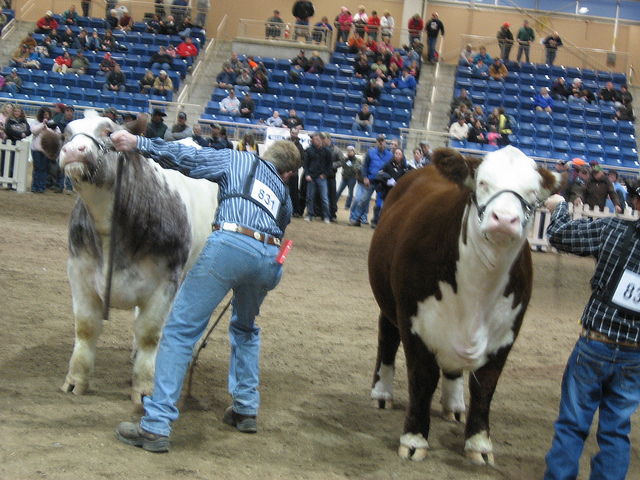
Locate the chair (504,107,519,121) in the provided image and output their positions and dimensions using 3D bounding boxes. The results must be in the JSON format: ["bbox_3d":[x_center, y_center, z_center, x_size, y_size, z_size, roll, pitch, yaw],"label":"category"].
[{"bbox_3d":[5.934,-3.933,28.470,0.422,0.389,0.798,7,7,5],"label":"chair"}]

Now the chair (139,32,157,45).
[{"bbox_3d":[-5.847,-6.835,31.126,0.417,0.531,0.443,1,3,-18],"label":"chair"}]

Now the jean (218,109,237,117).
[{"bbox_3d":[-2.623,-3.597,25.835,0.579,0.176,0.182,12,9,30],"label":"jean"}]

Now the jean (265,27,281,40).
[{"bbox_3d":[-1.648,-7.053,31.147,0.539,0.382,0.085,10,8,18],"label":"jean"}]

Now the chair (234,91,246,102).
[{"bbox_3d":[-2.384,-4.281,26.951,0.312,0.253,0.913,6,8,-5],"label":"chair"}]

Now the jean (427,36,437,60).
[{"bbox_3d":[3.782,-6.598,31.395,0.310,0.759,0.486,6,7,6],"label":"jean"}]

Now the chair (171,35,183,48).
[{"bbox_3d":[-4.922,-6.828,31.384,0.367,0.436,0.820,4,8,-19],"label":"chair"}]

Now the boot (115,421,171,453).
[{"bbox_3d":[-1.938,2.126,9.911,0.611,0.253,0.127,9,7,10],"label":"boot"}]

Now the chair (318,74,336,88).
[{"bbox_3d":[0.200,-5.028,28.848,0.559,0.400,0.558,7,7,-1],"label":"chair"}]

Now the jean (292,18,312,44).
[{"bbox_3d":[-0.613,-7.224,31.524,0.665,0.913,1.581,6,7,-4],"label":"jean"}]

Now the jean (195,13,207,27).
[{"bbox_3d":[-4.312,-7.937,32.915,0.365,0.455,0.598,5,7,-10],"label":"jean"}]

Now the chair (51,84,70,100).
[{"bbox_3d":[-7.660,-4.412,27.063,0.392,0.445,0.434,4,18,7],"label":"chair"}]

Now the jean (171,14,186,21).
[{"bbox_3d":[-4.973,-7.846,32.224,0.351,0.243,1.124,2,10,-33],"label":"jean"}]

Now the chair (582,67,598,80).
[{"bbox_3d":[9.268,-5.708,31.557,0.570,0.369,0.526,7,7,-1],"label":"chair"}]

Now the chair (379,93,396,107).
[{"bbox_3d":[2.008,-4.215,27.554,0.520,0.388,0.556,7,7,-1],"label":"chair"}]

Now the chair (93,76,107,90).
[{"bbox_3d":[-6.689,-4.770,27.748,0.366,0.508,0.461,0,2,-10],"label":"chair"}]

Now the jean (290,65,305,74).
[{"bbox_3d":[-0.735,-5.425,29.120,0.453,0.290,1.393,7,8,-4],"label":"jean"}]

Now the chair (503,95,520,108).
[{"bbox_3d":[6.065,-4.412,29.128,0.504,0.391,0.480,8,7,9],"label":"chair"}]

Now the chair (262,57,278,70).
[{"bbox_3d":[-1.654,-5.821,30.095,0.373,0.508,0.453,8,13,11],"label":"chair"}]

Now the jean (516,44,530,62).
[{"bbox_3d":[7.004,-6.489,31.669,0.439,0.589,0.287,6,7,2],"label":"jean"}]

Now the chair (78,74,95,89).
[{"bbox_3d":[-7.096,-4.833,27.736,0.405,0.572,0.414,-11,25,-24],"label":"chair"}]

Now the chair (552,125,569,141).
[{"bbox_3d":[7.238,-3.229,27.669,0.493,0.405,0.615,9,7,14],"label":"chair"}]

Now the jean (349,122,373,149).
[{"bbox_3d":[1.133,-3.052,25.158,0.585,0.901,0.724,1,-29,1],"label":"jean"}]

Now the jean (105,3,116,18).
[{"bbox_3d":[-7.674,-8.392,33.448,0.359,0.572,1.355,4,8,-15],"label":"jean"}]

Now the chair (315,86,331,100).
[{"bbox_3d":[0.080,-4.545,28.192,0.475,0.589,0.371,1,-16,3],"label":"chair"}]

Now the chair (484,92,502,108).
[{"bbox_3d":[5.480,-4.488,29.145,0.466,0.719,0.491,2,9,11],"label":"chair"}]

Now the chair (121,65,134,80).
[{"bbox_3d":[-6.042,-5.297,28.846,0.354,0.553,0.449,2,-4,-9],"label":"chair"}]

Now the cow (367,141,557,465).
[{"bbox_3d":[1.487,0.693,10.613,1.244,3.694,2.286,3,8,-23],"label":"cow"}]

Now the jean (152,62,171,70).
[{"bbox_3d":[-5.049,-5.533,29.079,0.275,0.140,0.311,7,3,4],"label":"jean"}]

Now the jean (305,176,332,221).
[{"bbox_3d":[-0.066,-0.947,20.597,0.654,1.037,0.800,7,7,8],"label":"jean"}]

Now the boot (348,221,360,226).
[{"bbox_3d":[0.777,-0.377,20.938,0.250,0.133,0.103,4,2,-21],"label":"boot"}]

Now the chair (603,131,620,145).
[{"bbox_3d":[8.843,-3.113,27.907,0.494,0.391,0.654,9,8,16],"label":"chair"}]

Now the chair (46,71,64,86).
[{"bbox_3d":[-8.017,-4.917,27.671,0.333,0.377,0.392,3,26,-5],"label":"chair"}]

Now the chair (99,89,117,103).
[{"bbox_3d":[-6.189,-4.185,26.700,0.368,0.469,0.315,4,-9,7],"label":"chair"}]

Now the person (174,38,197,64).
[{"bbox_3d":[-4.459,-6.250,30.339,0.602,1.214,0.633,16,-39,-18],"label":"person"}]

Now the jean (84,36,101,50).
[{"bbox_3d":[-7.450,-6.423,30.050,0.362,0.451,0.610,16,37,-16],"label":"jean"}]

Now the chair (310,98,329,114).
[{"bbox_3d":[-0.036,-4.033,27.436,0.389,0.321,0.455,3,6,7],"label":"chair"}]

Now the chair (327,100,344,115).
[{"bbox_3d":[0.461,-3.961,27.390,0.373,0.480,0.411,2,12,10],"label":"chair"}]

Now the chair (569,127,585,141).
[{"bbox_3d":[7.736,-3.206,27.665,0.472,0.375,0.742,9,8,15],"label":"chair"}]

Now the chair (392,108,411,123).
[{"bbox_3d":[2.367,-3.705,27.053,0.382,0.439,0.409,-1,9,-9],"label":"chair"}]

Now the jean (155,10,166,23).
[{"bbox_3d":[-5.798,-8.136,32.951,0.366,0.350,0.915,6,8,-4],"label":"jean"}]

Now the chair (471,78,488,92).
[{"bbox_3d":[5.209,-5.083,29.965,0.505,0.435,0.714,8,7,8],"label":"chair"}]

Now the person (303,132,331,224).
[{"bbox_3d":[-0.023,-1.376,20.399,0.611,1.959,0.788,9,8,31],"label":"person"}]

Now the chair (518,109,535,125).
[{"bbox_3d":[6.360,-3.889,28.419,0.486,0.439,0.559,3,34,3],"label":"chair"}]

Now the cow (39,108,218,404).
[{"bbox_3d":[-2.265,0.275,11.367,1.348,3.270,3.639,2,-5,12],"label":"cow"}]

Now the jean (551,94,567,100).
[{"bbox_3d":[7.609,-4.591,29.324,0.254,0.116,0.265,23,27,33],"label":"jean"}]

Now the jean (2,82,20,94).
[{"bbox_3d":[-8.846,-4.352,26.192,0.255,0.178,0.396,5,5,22],"label":"jean"}]

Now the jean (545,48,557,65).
[{"bbox_3d":[8.009,-6.390,31.857,0.502,0.565,0.125,2,7,-33],"label":"jean"}]

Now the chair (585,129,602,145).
[{"bbox_3d":[8.237,-3.115,27.677,0.523,0.447,0.817,9,8,15],"label":"chair"}]

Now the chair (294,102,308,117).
[{"bbox_3d":[-0.578,-3.925,27.272,0.345,0.568,0.435,2,-10,-1],"label":"chair"}]

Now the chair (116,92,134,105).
[{"bbox_3d":[-5.643,-4.103,26.471,0.330,0.413,0.397,4,3,-5],"label":"chair"}]

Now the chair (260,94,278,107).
[{"bbox_3d":[-1.536,-4.211,27.570,0.487,0.370,0.433,7,7,-3],"label":"chair"}]

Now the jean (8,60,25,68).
[{"bbox_3d":[-9.519,-5.516,28.621,0.237,0.232,0.631,-1,11,-45],"label":"jean"}]

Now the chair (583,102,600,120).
[{"bbox_3d":[8.556,-4.102,28.972,0.458,0.591,0.499,2,-2,8],"label":"chair"}]

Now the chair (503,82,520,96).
[{"bbox_3d":[6.219,-4.944,29.875,0.520,0.424,0.802,8,7,10],"label":"chair"}]

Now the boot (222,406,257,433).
[{"bbox_3d":[-0.936,2.056,10.676,0.468,0.272,0.184,26,16,36],"label":"boot"}]

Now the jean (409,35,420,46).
[{"bbox_3d":[3.154,-6.860,31.443,0.305,0.372,0.411,10,8,26],"label":"jean"}]

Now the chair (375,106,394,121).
[{"bbox_3d":[1.884,-3.726,26.936,0.518,0.378,0.485,8,7,7],"label":"chair"}]
